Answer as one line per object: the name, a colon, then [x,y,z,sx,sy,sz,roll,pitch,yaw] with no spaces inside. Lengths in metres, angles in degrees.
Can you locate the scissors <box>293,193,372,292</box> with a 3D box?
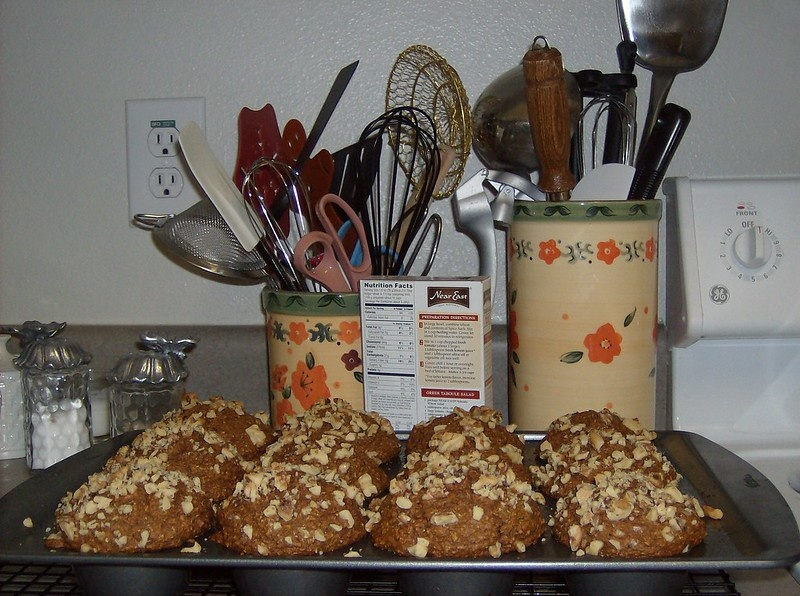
scissors: [-0.086,-0.072,0.996,0.104,0.126,0.075,-3,14,-8]

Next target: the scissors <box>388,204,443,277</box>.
scissors: [0.026,-0.072,1.072,0.015,0.107,0.057,13,13,-31]

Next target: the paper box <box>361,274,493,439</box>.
paper box: [0.035,0.070,0.949,0.173,0.230,0.076,0,9,14]

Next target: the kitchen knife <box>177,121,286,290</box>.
kitchen knife: [-0.230,-0.138,1.059,0.044,0.263,0.071,-28,19,30]
